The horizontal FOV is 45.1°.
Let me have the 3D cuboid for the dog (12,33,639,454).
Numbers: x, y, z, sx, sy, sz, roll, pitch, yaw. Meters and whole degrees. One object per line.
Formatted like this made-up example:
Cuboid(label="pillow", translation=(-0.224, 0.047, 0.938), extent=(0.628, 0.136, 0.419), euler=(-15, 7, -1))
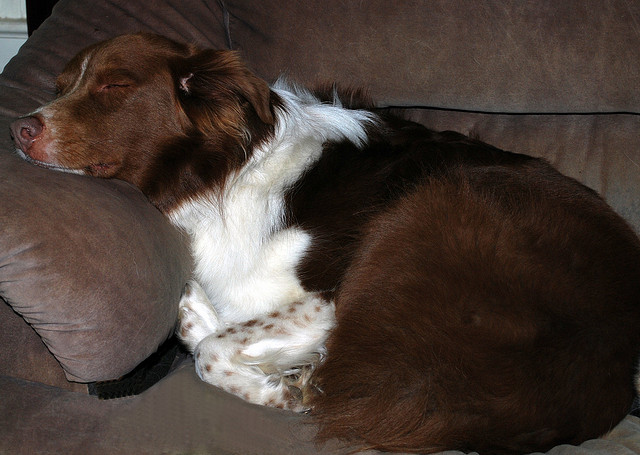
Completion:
Cuboid(label="dog", translation=(0.011, 0.115, 3.820), extent=(2.856, 1.486, 1.375), euler=(12, 91, 8))
